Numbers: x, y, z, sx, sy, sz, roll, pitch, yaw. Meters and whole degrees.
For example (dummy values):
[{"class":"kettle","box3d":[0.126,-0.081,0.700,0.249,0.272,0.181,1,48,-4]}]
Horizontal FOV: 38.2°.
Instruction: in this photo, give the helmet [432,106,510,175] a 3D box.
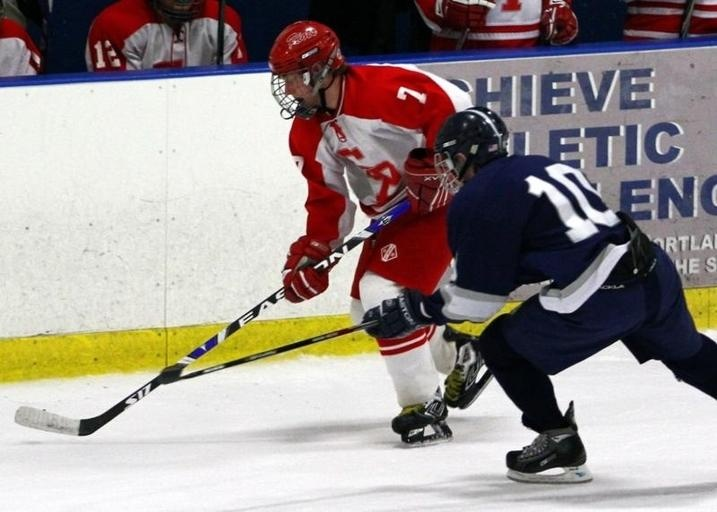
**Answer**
[{"class":"helmet","box3d":[0.381,-0.393,3.583,0.275,0.214,0.206,3,15,27]}]

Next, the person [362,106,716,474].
[{"class":"person","box3d":[0.648,0.215,3.505,1.121,1.105,0.287,-2,13,0]}]

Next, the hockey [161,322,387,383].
[{"class":"hockey","box3d":[-0.392,0.426,4.520,1.029,0.122,0.043,-13,41,4]}]

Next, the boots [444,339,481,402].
[{"class":"boots","box3d":[0.431,0.473,4.310,0.107,0.265,0.148,7,-3,40]}]

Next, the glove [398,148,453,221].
[{"class":"glove","box3d":[0.303,-0.270,3.877,0.276,0.195,0.186,0,35,7]}]

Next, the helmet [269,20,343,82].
[{"class":"helmet","box3d":[-0.196,-0.800,4.023,0.288,0.200,0.194,-8,9,0]}]

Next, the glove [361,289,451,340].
[{"class":"glove","box3d":[0.163,0.198,3.573,0.284,0.078,0.145,-15,22,0]}]
